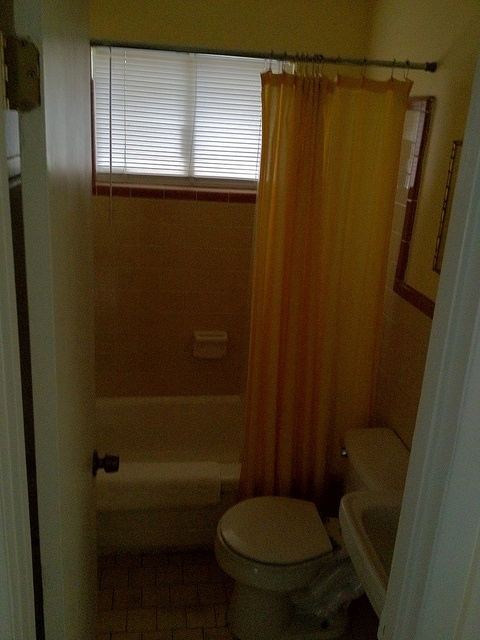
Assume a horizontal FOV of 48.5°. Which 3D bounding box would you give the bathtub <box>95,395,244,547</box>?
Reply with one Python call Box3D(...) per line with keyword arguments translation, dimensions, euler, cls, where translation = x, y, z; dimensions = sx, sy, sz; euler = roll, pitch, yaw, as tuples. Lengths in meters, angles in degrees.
Box3D(translation=(-0.375, 0.829, 2.809), dimensions=(0.643, 0.388, 0.659), euler=(1, 7, -9), cls="bathtub")
